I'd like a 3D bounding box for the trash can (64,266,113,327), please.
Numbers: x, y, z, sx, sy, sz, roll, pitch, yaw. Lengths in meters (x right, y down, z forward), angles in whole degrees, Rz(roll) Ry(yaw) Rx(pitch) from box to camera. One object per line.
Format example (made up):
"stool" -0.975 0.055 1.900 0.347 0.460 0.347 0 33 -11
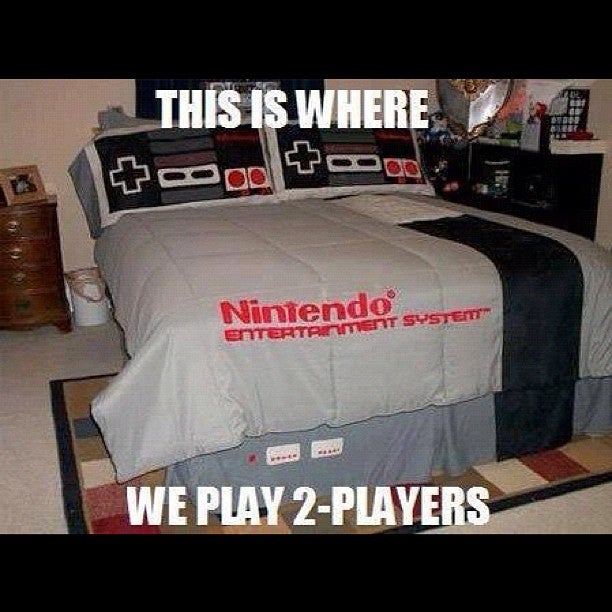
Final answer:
"trash can" -1.046 -0.036 2.776 0.276 0.285 0.334 -6 16 -26

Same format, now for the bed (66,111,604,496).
"bed" 0.055 -0.106 1.974 1.528 1.031 1.172 -5 16 -18
